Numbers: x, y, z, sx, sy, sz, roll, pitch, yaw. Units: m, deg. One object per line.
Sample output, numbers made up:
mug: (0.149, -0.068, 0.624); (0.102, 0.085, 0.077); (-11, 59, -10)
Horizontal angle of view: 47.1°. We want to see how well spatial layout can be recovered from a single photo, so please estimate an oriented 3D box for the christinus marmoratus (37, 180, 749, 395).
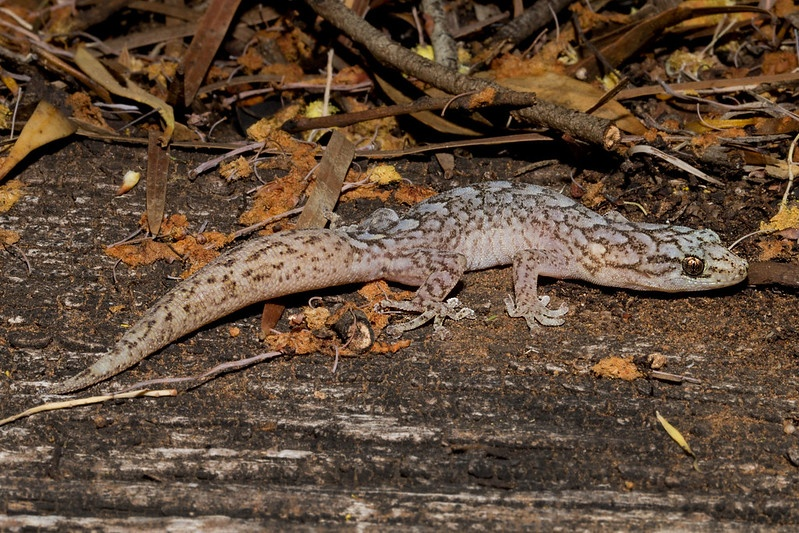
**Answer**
christinus marmoratus: (0.018, 0.164, 7.660); (5.182, 0.626, 1.672); (-2, 54, 2)
